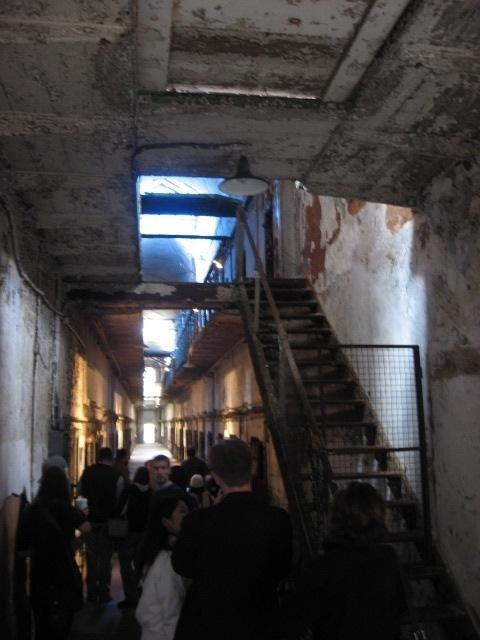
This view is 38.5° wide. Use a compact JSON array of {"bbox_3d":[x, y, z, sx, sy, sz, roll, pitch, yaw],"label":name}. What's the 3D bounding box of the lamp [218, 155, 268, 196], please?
[{"bbox_3d":[0.026,-0.978,4.306,0.212,0.276,0.218,1,1,33],"label":"lamp"}]
